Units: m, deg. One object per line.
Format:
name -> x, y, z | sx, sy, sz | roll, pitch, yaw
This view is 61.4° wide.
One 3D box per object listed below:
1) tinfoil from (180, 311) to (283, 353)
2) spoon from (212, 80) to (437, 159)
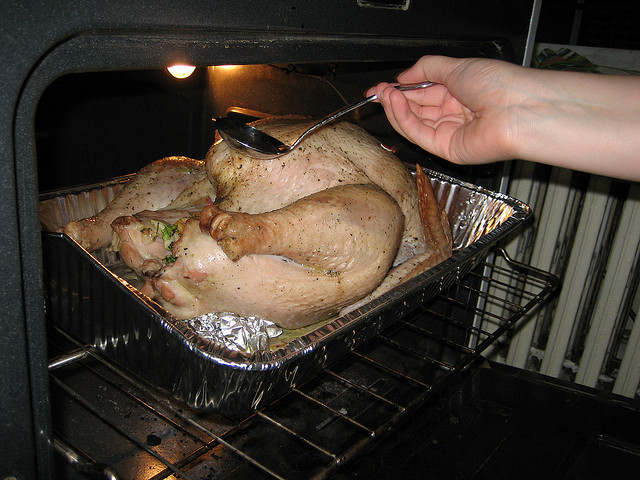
tinfoil -> -0.174, 0.181, 1.074 | 0.133, 0.042, 0.103 | 19, 19, -3
spoon -> 0.037, -0.308, 1.380 | 0.500, 0.085, 0.126 | -23, 25, -17
